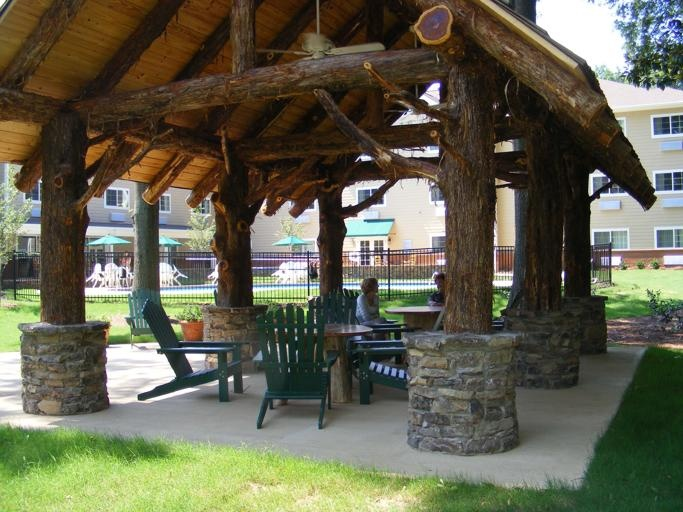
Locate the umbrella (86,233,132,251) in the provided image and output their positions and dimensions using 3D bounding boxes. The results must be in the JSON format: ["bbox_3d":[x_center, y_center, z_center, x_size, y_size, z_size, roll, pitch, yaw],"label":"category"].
[{"bbox_3d":[-9.996,-0.603,29.408,1.506,0.771,1.512,-1,-2,-1],"label":"umbrella"}]

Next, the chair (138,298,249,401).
[{"bbox_3d":[-2.241,1.372,10.533,1.575,1.690,1.235,1,1,2],"label":"chair"}]

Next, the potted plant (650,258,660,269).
[{"bbox_3d":[13.542,0.347,29.637,0.368,0.430,0.372,-1,3,40],"label":"potted plant"}]

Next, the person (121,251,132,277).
[{"bbox_3d":[-9.217,0.402,29.373,0.306,1.394,1.278,-3,40,-15],"label":"person"}]

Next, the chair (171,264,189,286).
[{"bbox_3d":[-7.461,0.932,31.573,0.744,1.132,0.761,-6,5,-1],"label":"chair"}]

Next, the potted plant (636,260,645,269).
[{"bbox_3d":[13.023,0.395,29.824,0.295,0.323,0.295,-8,-1,44],"label":"potted plant"}]
